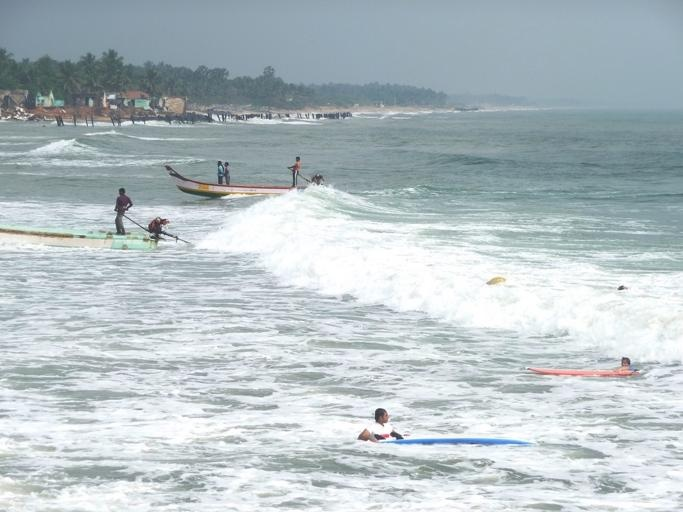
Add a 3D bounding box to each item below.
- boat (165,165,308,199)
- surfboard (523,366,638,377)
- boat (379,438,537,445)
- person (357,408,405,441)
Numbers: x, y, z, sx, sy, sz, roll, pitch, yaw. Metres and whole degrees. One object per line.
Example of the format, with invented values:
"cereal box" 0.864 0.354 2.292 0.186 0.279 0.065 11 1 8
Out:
"boat" -4.524 -2.931 49.722 4.645 1.173 1.449 1 14 3
"surfboard" 4.887 2.347 25.547 1.813 0.145 0.225 0 -8 0
"boat" 2.120 3.370 22.980 2.717 0.096 0.220 0 13 0
"person" 0.740 3.076 23.127 0.842 0.557 0.464 0 15 0
